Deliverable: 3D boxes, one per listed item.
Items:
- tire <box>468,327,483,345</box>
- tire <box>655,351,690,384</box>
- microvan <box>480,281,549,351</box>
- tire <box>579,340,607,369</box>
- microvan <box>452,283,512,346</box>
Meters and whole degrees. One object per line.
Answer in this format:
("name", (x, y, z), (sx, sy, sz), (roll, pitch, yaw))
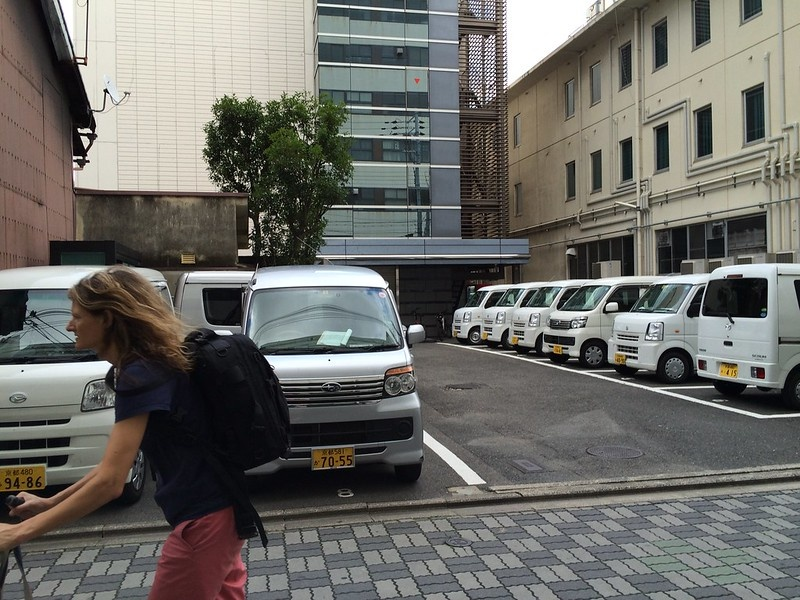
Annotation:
("tire", (2.727, 1.277, 26.388), (0.605, 0.706, 0.233), (0, -1, -1))
("tire", (5.399, 1.311, 14.332), (0.550, 0.639, 0.208), (0, 3, -7))
("microvan", (3.967, 0.468, 24.227), (2.234, 1.577, 1.633), (-1, 0, -13))
("tire", (4.577, 1.265, 17.185), (0.549, 0.636, 0.208), (-2, 8, -11))
("microvan", (3.161, 0.501, 27.104), (2.211, 1.638, 1.706), (-1, 0, -8))
